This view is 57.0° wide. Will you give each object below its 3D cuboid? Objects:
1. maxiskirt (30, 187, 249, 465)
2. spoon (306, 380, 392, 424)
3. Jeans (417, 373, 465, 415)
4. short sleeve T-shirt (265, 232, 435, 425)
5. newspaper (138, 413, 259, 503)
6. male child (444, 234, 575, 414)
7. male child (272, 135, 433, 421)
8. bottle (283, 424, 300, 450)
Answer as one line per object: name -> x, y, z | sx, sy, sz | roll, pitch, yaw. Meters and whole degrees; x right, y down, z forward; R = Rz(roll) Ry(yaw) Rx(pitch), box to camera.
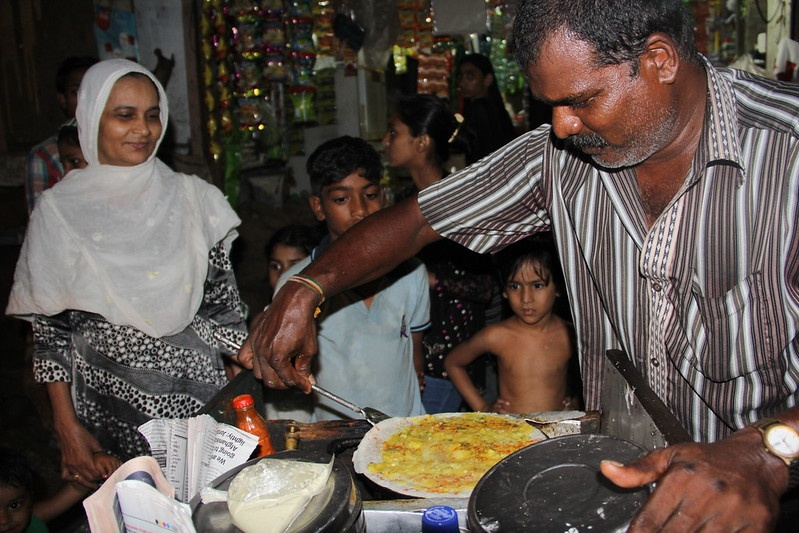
maxiskirt -> -1.224, 0.266, 3.414 | 0.925, 1.060, 0.576 | -20, 16, -18
spoon -> -0.245, 0.643, 3.445 | 0.560, 0.083, 0.063 | 31, -17, -27
Jeans -> 0.264, 0.733, 4.356 | 0.226, 0.355, 0.198 | -5, 3, 6
short sleeve T-shirt -> -0.164, 0.503, 3.914 | 0.773, 1.616, 0.335 | -8, 23, -11
newspaper -> -0.786, 0.745, 2.605 | 0.364, 0.388, 0.123 | 3, 56, 16
male child -> 0.594, 0.326, 4.051 | 0.803, 0.969, 0.364 | -6, 13, -4
male child -> -0.157, 0.372, 3.982 | 0.714, 1.859, 0.476 | -6, 49, 1
bottle -> -0.416, 0.661, 2.826 | 0.048, 0.050, 0.091 | 18, 45, -22
